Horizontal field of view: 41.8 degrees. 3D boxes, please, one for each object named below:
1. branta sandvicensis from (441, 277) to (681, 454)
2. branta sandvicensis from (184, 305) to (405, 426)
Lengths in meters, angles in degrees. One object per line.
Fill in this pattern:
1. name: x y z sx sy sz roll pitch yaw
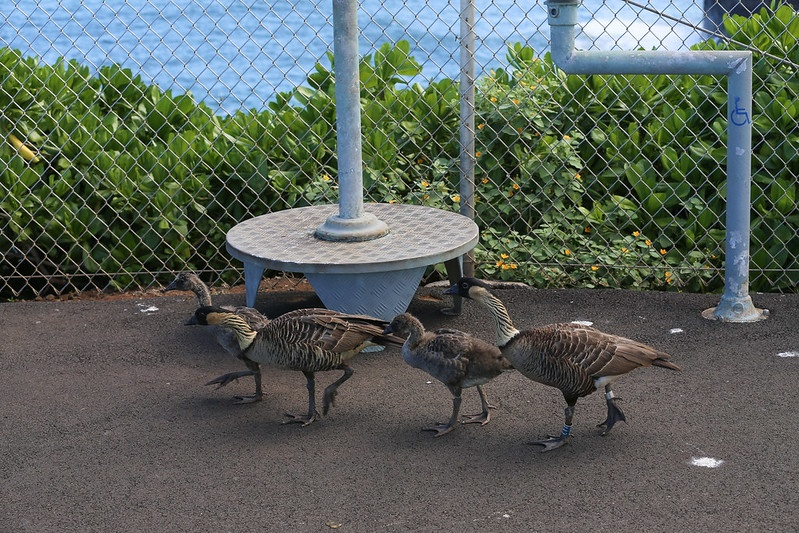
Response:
1. branta sandvicensis: 1.040 0.577 6.602 1.433 1.008 0.543 0 7 5
2. branta sandvicensis: -0.624 0.616 6.809 1.295 0.684 0.511 -4 23 -11
